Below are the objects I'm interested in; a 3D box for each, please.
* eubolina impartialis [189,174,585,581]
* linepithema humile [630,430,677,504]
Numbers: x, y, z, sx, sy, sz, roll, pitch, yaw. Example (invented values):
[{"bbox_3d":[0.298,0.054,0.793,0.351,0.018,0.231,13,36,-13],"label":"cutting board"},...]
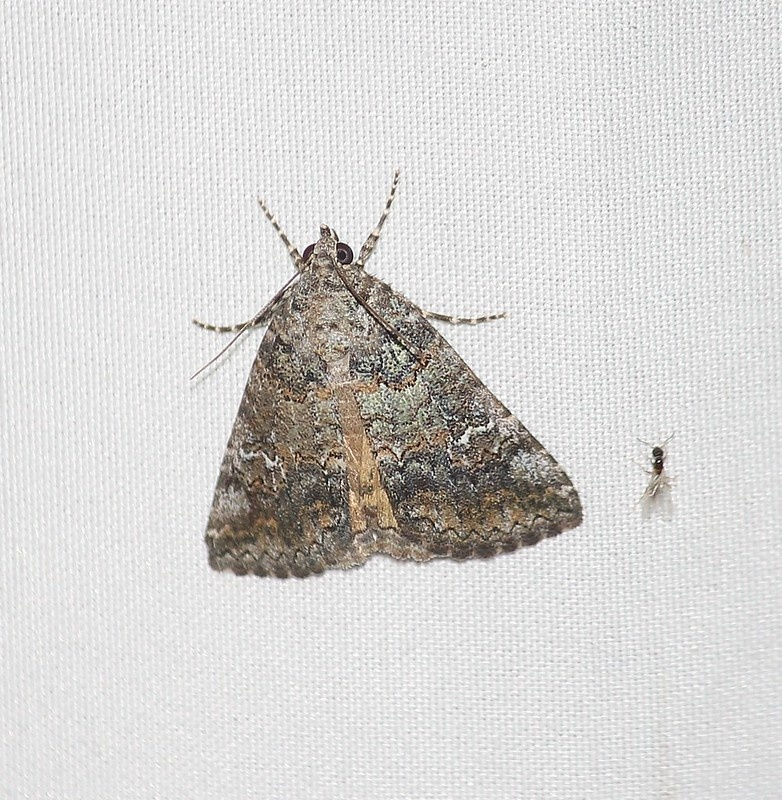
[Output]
[{"bbox_3d":[-0.061,-0.049,2.977,0.803,0.181,0.846,-9,-85,9],"label":"eubolina impartialis"},{"bbox_3d":[0.638,0.171,3.175,0.121,0.048,0.173,1,-92,9],"label":"linepithema humile"}]
